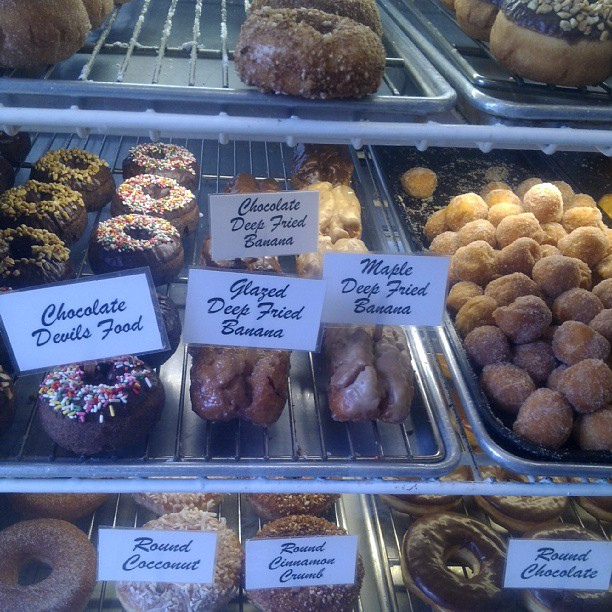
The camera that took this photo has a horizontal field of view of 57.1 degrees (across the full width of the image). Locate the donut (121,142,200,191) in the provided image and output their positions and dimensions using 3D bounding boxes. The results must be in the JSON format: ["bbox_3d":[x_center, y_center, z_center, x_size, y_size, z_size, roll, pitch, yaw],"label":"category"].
[{"bbox_3d":[-0.421,-0.437,1.659,0.199,0.079,0.174,3,33,-6],"label":"donut"}]

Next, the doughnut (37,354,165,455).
[{"bbox_3d":[-0.468,0.183,1.100,0.191,0.196,0.083,38,86,20],"label":"doughnut"}]

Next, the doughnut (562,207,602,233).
[{"bbox_3d":[0.725,-0.234,1.476,0.089,0.038,0.077,-8,36,10],"label":"doughnut"}]

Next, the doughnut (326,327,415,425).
[{"bbox_3d":[0.135,0.103,1.129,0.192,0.082,0.237,3,49,-11],"label":"doughnut"}]

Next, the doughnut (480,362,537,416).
[{"bbox_3d":[0.400,0.159,1.139,0.098,0.055,0.107,4,27,-5],"label":"doughnut"}]

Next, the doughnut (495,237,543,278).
[{"bbox_3d":[0.524,-0.119,1.372,0.099,0.044,0.109,-1,33,3],"label":"doughnut"}]

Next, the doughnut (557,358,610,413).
[{"bbox_3d":[0.533,0.152,1.088,0.101,0.056,0.107,-11,41,13],"label":"doughnut"}]

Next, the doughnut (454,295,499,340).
[{"bbox_3d":[0.381,0.023,1.309,0.099,0.091,0.058,-60,16,-10],"label":"doughnut"}]

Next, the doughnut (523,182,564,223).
[{"bbox_3d":[0.619,-0.278,1.462,0.117,0.098,0.101,10,14,42],"label":"doughnut"}]

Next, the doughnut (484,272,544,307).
[{"bbox_3d":[0.473,-0.042,1.281,0.097,0.043,0.096,0,27,10],"label":"doughnut"}]

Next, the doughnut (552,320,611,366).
[{"bbox_3d":[0.557,0.078,1.152,0.092,0.057,0.101,-41,62,6],"label":"doughnut"}]

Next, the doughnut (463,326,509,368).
[{"bbox_3d":[0.386,0.079,1.247,0.108,0.081,0.089,2,14,42],"label":"doughnut"}]

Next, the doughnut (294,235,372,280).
[{"bbox_3d":[0.044,-0.110,1.196,0.116,0.042,0.139,1,28,0],"label":"doughnut"}]

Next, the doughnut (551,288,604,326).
[{"bbox_3d":[0.600,-0.003,1.240,0.093,0.048,0.095,-4,13,-1],"label":"doughnut"}]

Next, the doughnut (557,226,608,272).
[{"bbox_3d":[0.699,-0.152,1.432,0.118,0.067,0.115,0,37,9],"label":"doughnut"}]

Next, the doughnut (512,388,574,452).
[{"bbox_3d":[0.472,0.204,1.094,0.107,0.067,0.121,-8,41,30],"label":"doughnut"}]

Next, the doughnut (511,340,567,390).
[{"bbox_3d":[0.494,0.120,1.197,0.100,0.053,0.101,0,33,1],"label":"doughnut"}]

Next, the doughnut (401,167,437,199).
[{"bbox_3d":[0.330,-0.369,1.649,0.106,0.041,0.117,0,49,-4],"label":"doughnut"}]

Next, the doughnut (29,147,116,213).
[{"bbox_3d":[-0.661,-0.350,1.578,0.209,0.075,0.215,1,36,-19],"label":"doughnut"}]

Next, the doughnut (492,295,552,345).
[{"bbox_3d":[0.474,0.020,1.235,0.112,0.067,0.115,-12,32,2],"label":"doughnut"}]

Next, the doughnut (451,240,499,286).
[{"bbox_3d":[0.413,-0.107,1.387,0.113,0.057,0.116,-2,40,-1],"label":"doughnut"}]

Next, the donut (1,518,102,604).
[{"bbox_3d":[-0.559,0.561,1.230,0.191,0.070,0.188,-8,50,-11],"label":"donut"}]

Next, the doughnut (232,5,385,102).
[{"bbox_3d":[0.007,-0.436,0.976,0.260,0.090,0.205,4,49,0],"label":"doughnut"}]

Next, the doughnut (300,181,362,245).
[{"bbox_3d":[0.078,-0.232,1.365,0.147,0.055,0.171,2,44,-2],"label":"doughnut"}]
